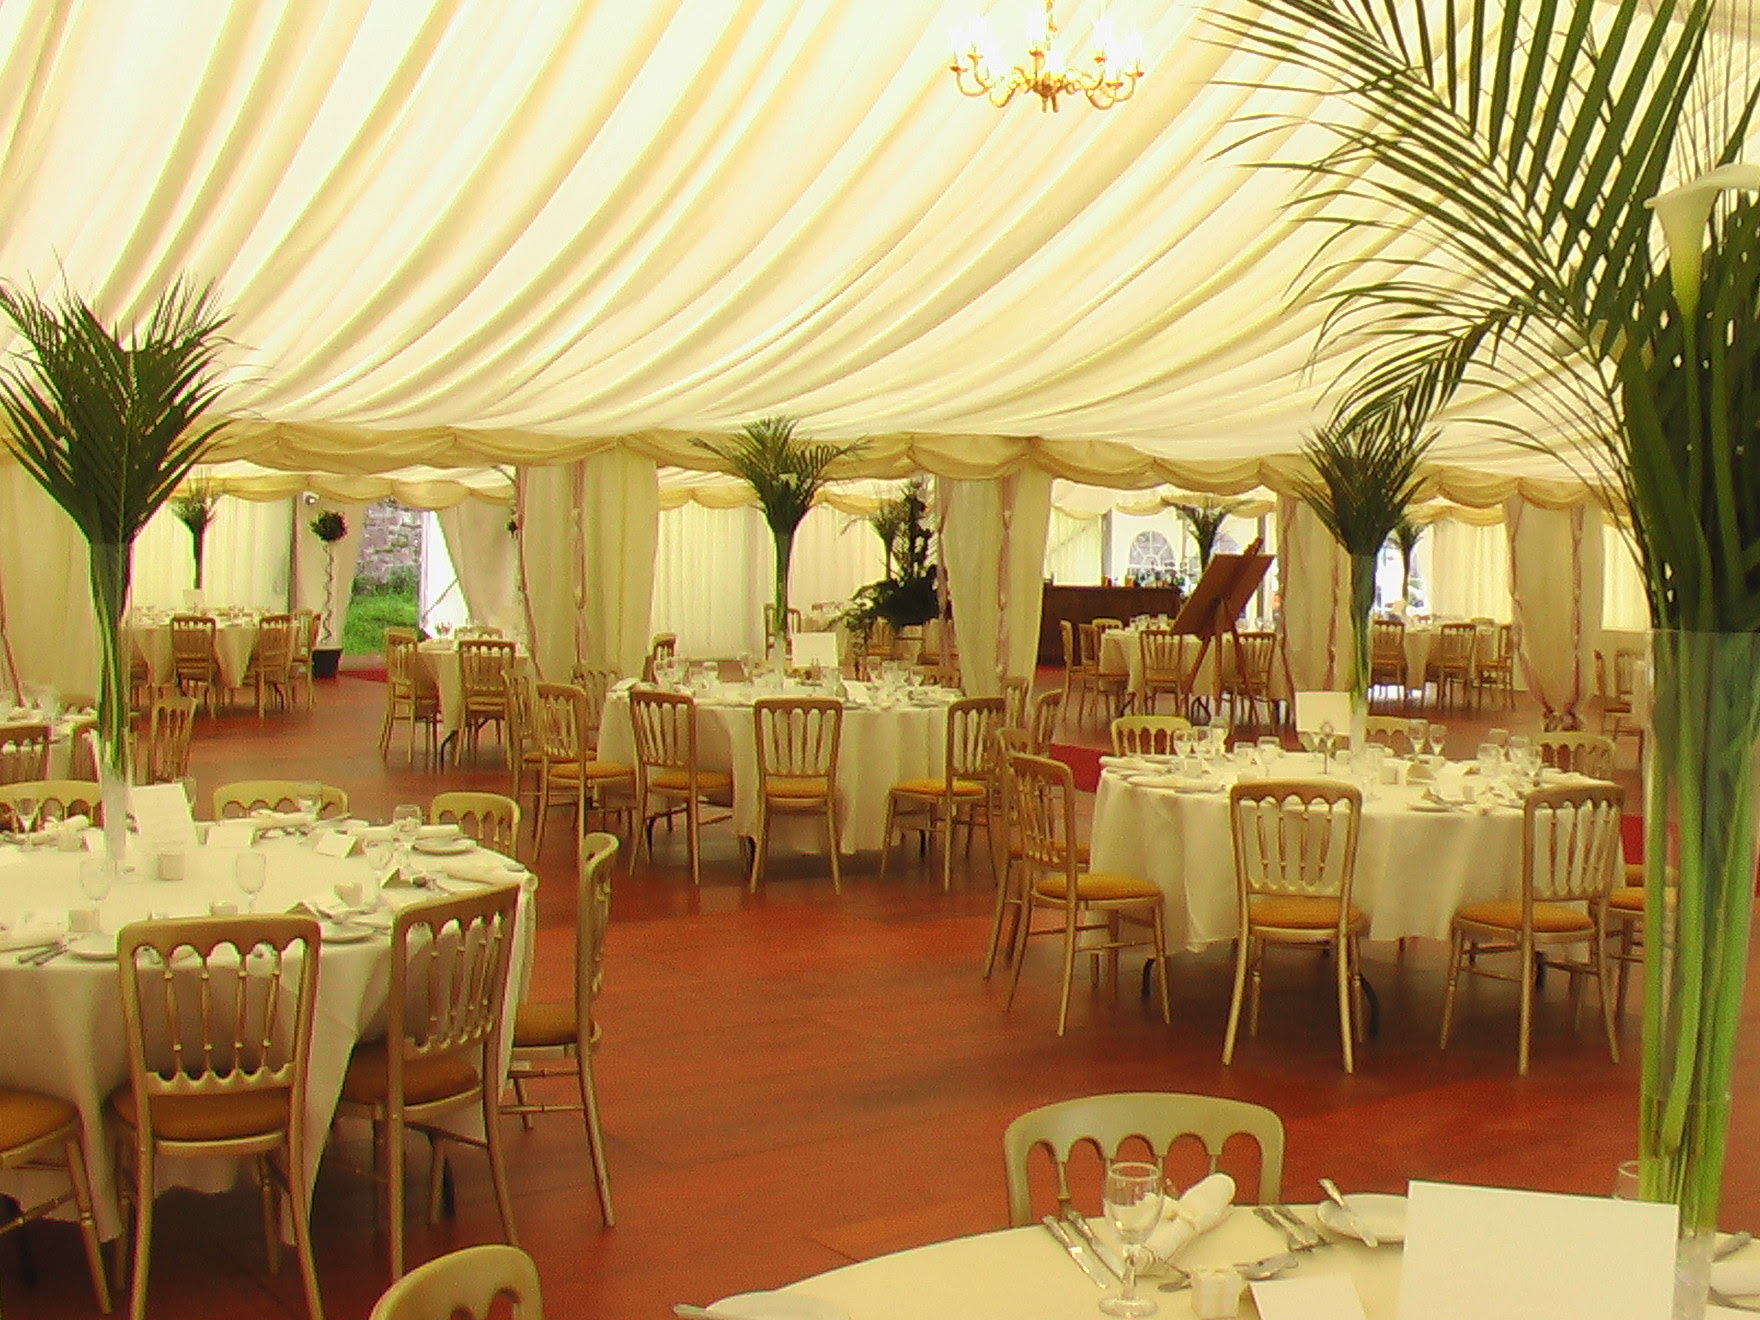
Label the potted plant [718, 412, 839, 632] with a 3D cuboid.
[{"bbox_3d":[-0.758,-1.076,11.109,0.926,1.781,1.024,-4,16,3],"label":"potted plant"}]
